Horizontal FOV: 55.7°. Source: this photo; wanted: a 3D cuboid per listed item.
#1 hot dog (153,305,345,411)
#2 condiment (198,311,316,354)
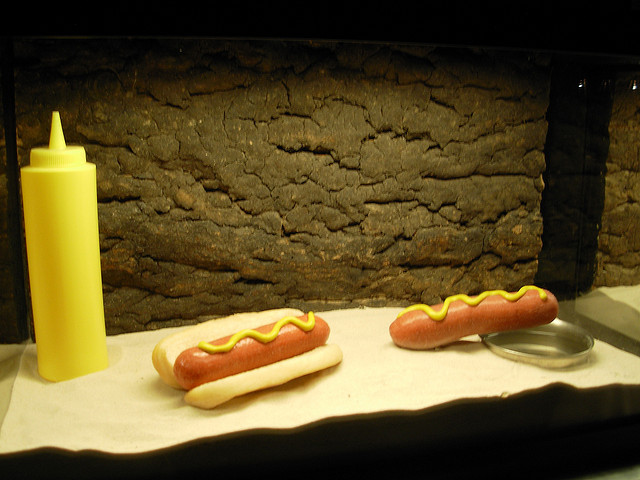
[{"bbox_3d":[-0.229,0.334,1.908,0.466,0.195,0.296,-10,30,-29],"label":"hot dog"},{"bbox_3d":[-0.192,0.298,1.916,0.294,0.055,0.064,-11,8,-24],"label":"condiment"}]
